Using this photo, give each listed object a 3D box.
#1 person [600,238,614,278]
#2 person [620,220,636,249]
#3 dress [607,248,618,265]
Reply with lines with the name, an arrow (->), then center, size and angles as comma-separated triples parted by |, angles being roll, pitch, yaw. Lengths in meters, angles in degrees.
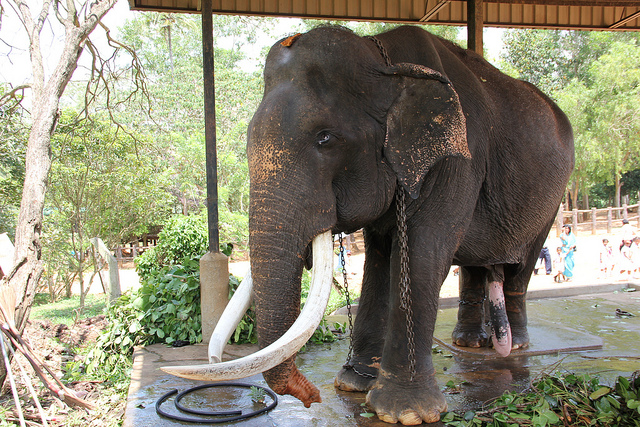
person -> 8.383, 1.285, 15.963 | 0.367, 1.221, 1.445 | 3, 9, 27
person -> 8.186, 0.549, 14.523 | 0.290, 0.833, 0.712 | 4, 9, 29
dress -> 8.369, 1.190, 15.617 | 0.143, 0.548, 0.771 | 5, 9, 36
